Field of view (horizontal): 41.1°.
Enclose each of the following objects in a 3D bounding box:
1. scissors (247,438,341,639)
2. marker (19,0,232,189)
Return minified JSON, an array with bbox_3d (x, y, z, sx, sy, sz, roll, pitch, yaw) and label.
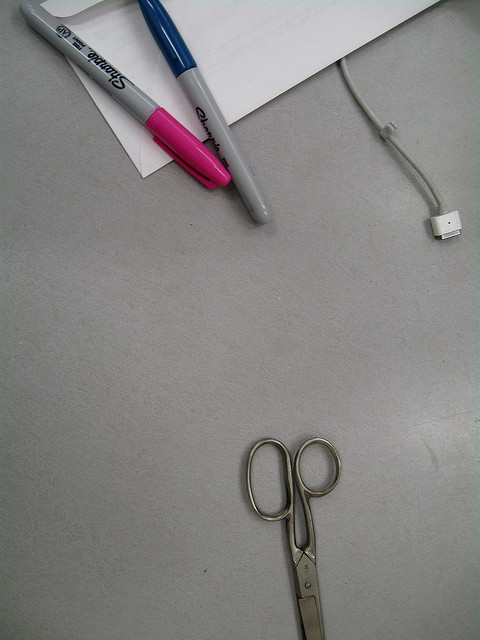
[{"bbox_3d":[0.050,0.181,0.538,0.066,0.167,0.061,9,-28,-36],"label":"scissors"},{"bbox_3d":[-0.098,-0.206,0.566,0.028,0.223,0.023,-48,-5,13],"label":"marker"}]
